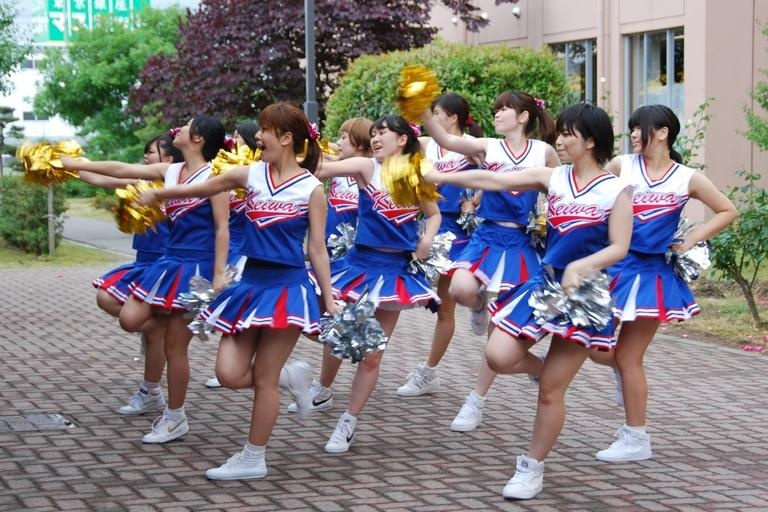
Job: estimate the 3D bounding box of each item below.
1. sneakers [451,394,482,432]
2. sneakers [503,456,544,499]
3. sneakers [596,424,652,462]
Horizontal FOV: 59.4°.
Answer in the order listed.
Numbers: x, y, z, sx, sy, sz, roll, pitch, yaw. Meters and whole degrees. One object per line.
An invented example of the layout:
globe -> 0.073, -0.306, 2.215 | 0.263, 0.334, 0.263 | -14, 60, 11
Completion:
sneakers -> 0.640, 1.191, 5.111 | 0.135, 0.174, 0.384 | 10, 9, 29
sneakers -> 0.830, 1.292, 3.949 | 0.275, 0.237, 0.125 | -2, 8, -13
sneakers -> 1.618, 1.254, 4.539 | 0.442, 0.249, 0.173 | 0, 0, 5
